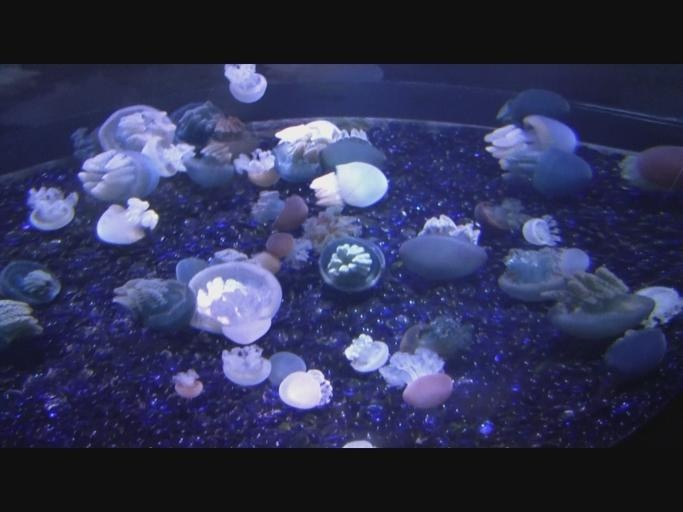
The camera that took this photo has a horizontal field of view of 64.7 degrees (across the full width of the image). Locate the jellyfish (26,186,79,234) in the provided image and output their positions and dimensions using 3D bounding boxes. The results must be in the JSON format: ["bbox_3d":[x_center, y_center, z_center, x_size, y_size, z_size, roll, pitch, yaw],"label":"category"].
[{"bbox_3d":[-2.121,-0.343,3.947,0.348,0.177,0.258,6,60,-1],"label":"jellyfish"}]
